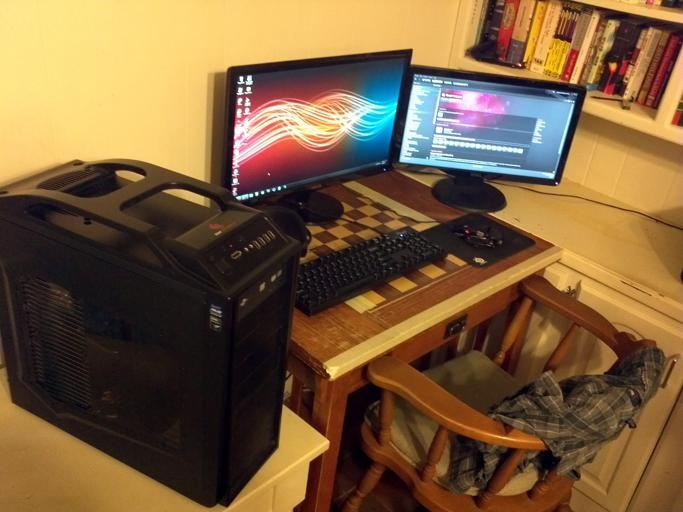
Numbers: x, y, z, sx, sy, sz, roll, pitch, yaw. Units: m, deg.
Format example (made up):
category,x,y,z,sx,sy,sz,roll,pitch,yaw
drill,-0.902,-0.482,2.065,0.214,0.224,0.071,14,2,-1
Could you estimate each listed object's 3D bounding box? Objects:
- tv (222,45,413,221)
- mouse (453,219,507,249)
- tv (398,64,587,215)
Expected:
category,x,y,z,sx,sy,sz,roll,pitch,yaw
tv,-0.069,-0.417,1.800,0.779,0.515,0.198,-24,44,-40
mouse,0.473,-0.073,1.831,0.133,0.031,0.093,20,36,8
tv,0.547,-0.438,1.986,0.668,0.459,0.248,9,45,-2
